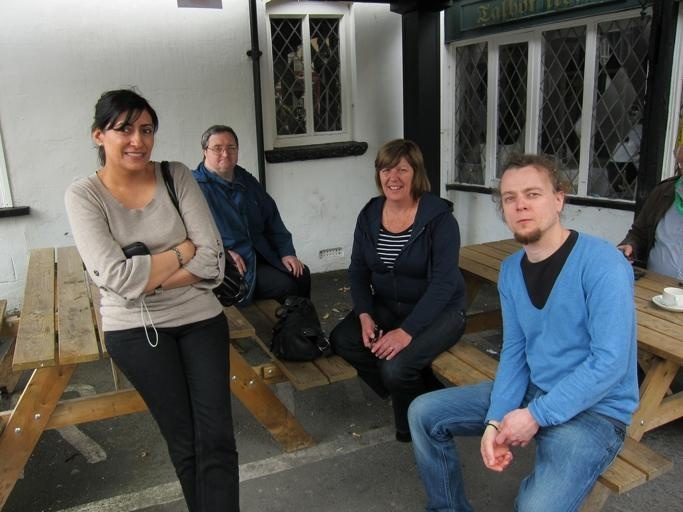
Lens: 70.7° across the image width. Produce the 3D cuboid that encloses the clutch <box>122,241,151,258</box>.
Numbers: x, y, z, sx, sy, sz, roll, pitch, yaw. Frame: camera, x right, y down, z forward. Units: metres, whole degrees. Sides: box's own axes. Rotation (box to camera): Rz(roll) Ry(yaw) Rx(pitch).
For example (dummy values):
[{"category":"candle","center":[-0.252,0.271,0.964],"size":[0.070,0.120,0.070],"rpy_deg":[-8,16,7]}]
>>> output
[{"category":"clutch","center":[-1.116,-0.030,2.606],"size":[0.096,0.100,0.025],"rpy_deg":[-12,4,-8]}]

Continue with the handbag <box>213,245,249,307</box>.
[{"category":"handbag","center":[-0.691,0.141,3.013],"size":[0.119,0.320,0.228],"rpy_deg":[-27,41,13]}]

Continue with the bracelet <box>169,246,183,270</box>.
[{"category":"bracelet","center":[-0.903,0.007,2.671],"size":[0.037,0.092,0.095],"rpy_deg":[-15,32,-20]}]
